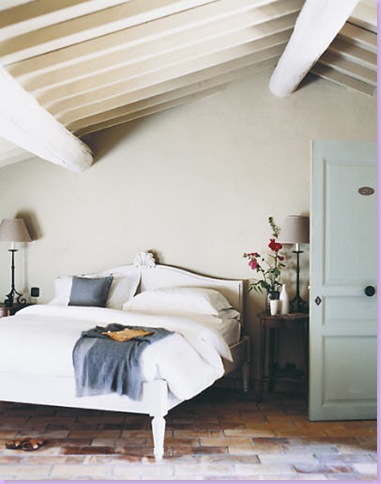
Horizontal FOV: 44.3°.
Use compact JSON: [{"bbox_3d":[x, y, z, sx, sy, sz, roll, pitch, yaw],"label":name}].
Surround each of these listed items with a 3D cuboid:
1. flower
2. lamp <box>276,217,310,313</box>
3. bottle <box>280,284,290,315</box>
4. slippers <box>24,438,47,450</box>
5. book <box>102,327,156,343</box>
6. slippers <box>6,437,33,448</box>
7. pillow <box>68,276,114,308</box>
[{"bbox_3d":[0.733,0.219,4.493,0.421,0.807,0.368,-1,8,9],"label":"flower"},{"bbox_3d":[0.959,0.216,4.293,0.265,0.873,0.375,0,-3,10],"label":"lamp"},{"bbox_3d":[0.837,0.510,4.100,0.082,0.251,0.235,0,-3,12],"label":"bottle"},{"bbox_3d":[-0.996,1.278,2.971,0.143,0.044,0.178,1,-3,-3],"label":"slippers"},{"bbox_3d":[-0.418,0.621,3.103,0.268,0.051,0.357,3,-4,-34],"label":"book"},{"bbox_3d":[-1.077,1.276,2.961,0.134,0.027,0.061,8,-6,-44],"label":"slippers"},{"bbox_3d":[-0.977,0.488,4.545,0.447,0.292,0.165,-1,-1,26],"label":"pillow"}]
